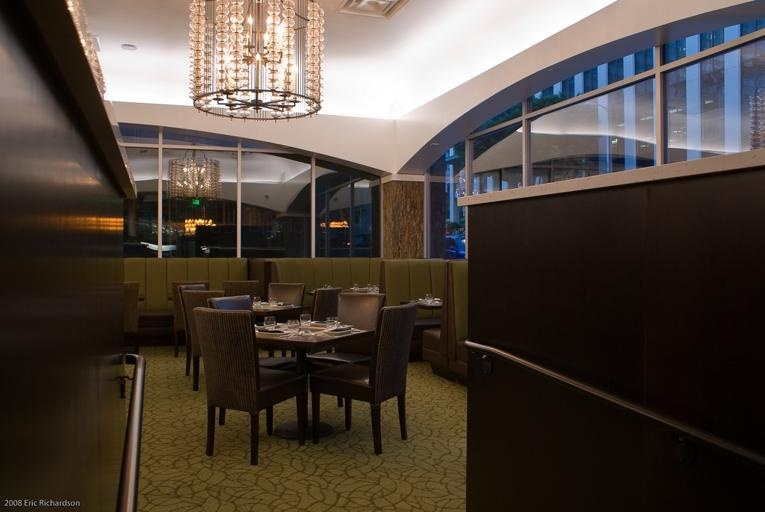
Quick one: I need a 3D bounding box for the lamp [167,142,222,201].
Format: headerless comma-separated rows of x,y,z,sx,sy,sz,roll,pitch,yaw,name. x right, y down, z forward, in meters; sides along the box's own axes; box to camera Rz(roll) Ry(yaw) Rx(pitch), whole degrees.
-3.202,-1.407,9.748,0.758,0.795,0.769,-1,-4,26,lamp

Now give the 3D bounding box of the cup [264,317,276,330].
-0.887,0.530,4.508,0.081,0.081,0.079,0,-2,0,cup

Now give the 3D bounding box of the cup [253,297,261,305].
-1.407,0.497,6.432,0.076,0.105,0.105,1,-2,-6,cup

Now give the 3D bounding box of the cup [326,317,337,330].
-0.414,0.549,4.698,0.072,0.089,0.072,1,-2,0,cup

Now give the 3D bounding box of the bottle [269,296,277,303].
-1.265,0.501,6.597,0.072,0.053,0.073,0,-2,0,bottle

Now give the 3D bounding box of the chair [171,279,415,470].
-0.897,0.871,4.414,1.237,1.087,1.865,-1,3,-45,chair

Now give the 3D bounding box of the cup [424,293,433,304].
0.583,0.534,7.193,0.064,0.064,0.120,-9,8,7,cup

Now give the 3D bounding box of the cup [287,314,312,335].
-0.660,0.543,4.598,0.207,0.213,0.120,-1,1,-18,cup
